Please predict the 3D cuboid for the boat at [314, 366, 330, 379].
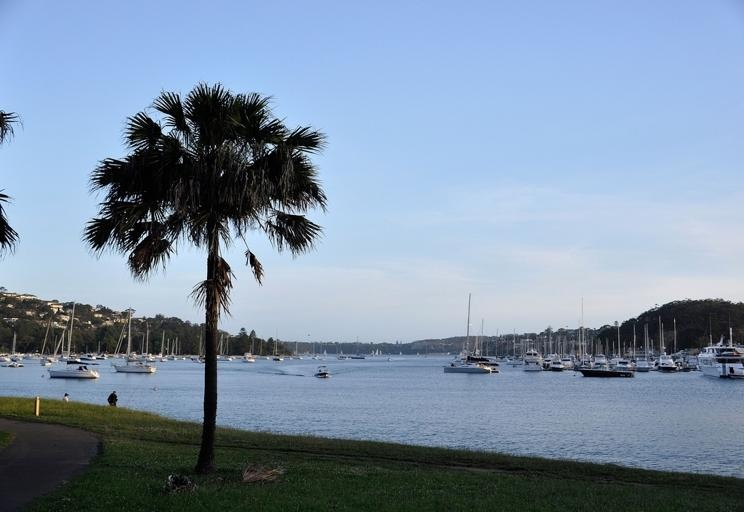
[{"bbox_3d":[-10.320,24.333,173.862,2.660,2.862,7.963,0,-11,-7],"label":"boat"}]
